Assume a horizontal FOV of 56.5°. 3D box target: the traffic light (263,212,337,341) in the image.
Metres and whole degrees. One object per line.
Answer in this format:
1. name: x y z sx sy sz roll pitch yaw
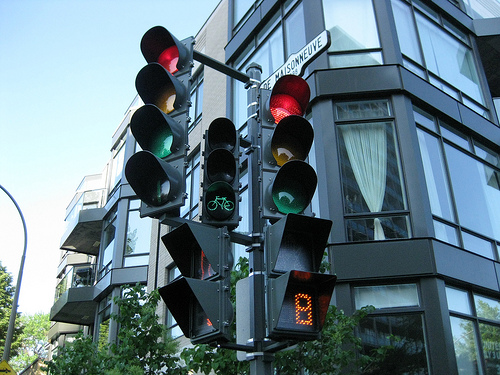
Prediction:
1. traffic light: 0.527 0.998 5.309 0.686 1.298 0.731 7 -29 -9

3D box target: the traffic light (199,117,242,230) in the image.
1. traffic light: -0.365 -0.221 5.843 0.497 1.461 0.414 1 -27 -4

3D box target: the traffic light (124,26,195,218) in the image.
1. traffic light: -1.142 -0.896 5.923 0.797 2.539 0.597 -1 -23 4

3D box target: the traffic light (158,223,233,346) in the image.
1. traffic light: -0.643 1.094 5.435 0.787 1.315 0.641 -18 -29 37

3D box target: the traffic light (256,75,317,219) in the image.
1. traffic light: 0.472 -0.566 5.928 0.692 2.134 0.573 4 -23 -8
